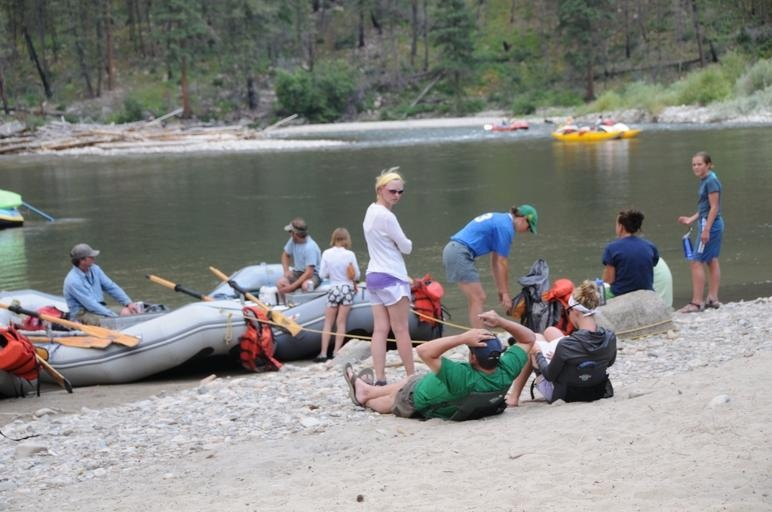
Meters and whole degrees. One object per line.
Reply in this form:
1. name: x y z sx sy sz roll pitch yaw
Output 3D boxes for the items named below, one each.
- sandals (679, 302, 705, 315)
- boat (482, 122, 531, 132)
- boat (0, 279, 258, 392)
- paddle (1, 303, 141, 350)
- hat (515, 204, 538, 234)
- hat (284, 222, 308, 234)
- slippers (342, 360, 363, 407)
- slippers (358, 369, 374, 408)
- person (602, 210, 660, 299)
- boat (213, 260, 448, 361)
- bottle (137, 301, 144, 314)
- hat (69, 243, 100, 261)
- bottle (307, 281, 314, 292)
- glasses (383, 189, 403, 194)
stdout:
1. sandals: 7.343 1.266 23.356 0.515 0.173 0.283 0 1 13
2. boat: 7.808 -8.268 62.208 2.164 0.430 1.108 -1 0 -4
3. boat: -5.638 1.888 22.725 4.609 1.168 2.412 -5 -5 5
4. paddle: -7.210 1.682 22.369 2.675 0.154 0.591 11 22 9
5. hat: 3.238 -0.822 21.774 0.381 0.609 0.922 -5 8 19
6. hat: -2.120 -0.641 23.512 0.467 0.220 0.293 14 27 8
7. slippers: -0.712 2.735 20.723 0.300 0.904 0.362 -13 -9 40
8. slippers: -0.394 2.806 20.723 0.315 0.723 0.215 4 -12 -12
9. person: 5.597 -0.042 22.371 1.230 2.011 0.392 -6 10 11
10. boat: -1.017 1.414 23.057 4.261 1.346 2.790 3 -2 -17
11. bottle: -5.824 1.261 23.342 0.207 0.250 0.088 -1 -2 -10
12. hat: -7.027 -0.002 22.947 0.794 0.402 0.519 -4 13 -15
13. bottle: -1.791 0.741 23.543 0.242 0.278 0.211 0 -4 -5
14. glasses: 0.244 -1.342 20.436 0.336 0.115 0.137 -9 8 -21
